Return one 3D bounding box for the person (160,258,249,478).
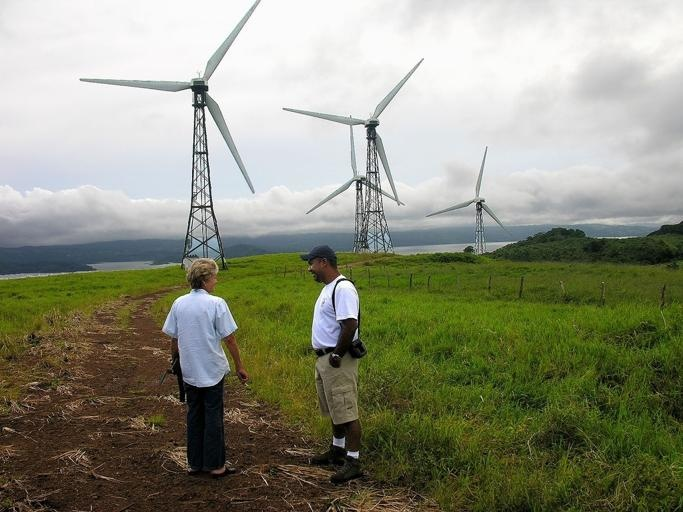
[{"bbox_3d":[-2.251,1.742,8.500,1.116,3.312,1.119,0,8,-23],"label":"person"}]

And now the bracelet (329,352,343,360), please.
[{"bbox_3d":[-0.091,1.585,8.408,0.194,0.105,0.089,3,7,0],"label":"bracelet"}]

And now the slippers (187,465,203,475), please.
[{"bbox_3d":[-2.321,3.392,8.378,0.260,0.101,0.087,25,-7,-10],"label":"slippers"}]

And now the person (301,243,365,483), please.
[{"bbox_3d":[-0.071,1.694,8.636,0.647,3.638,1.180,0,8,-23],"label":"person"}]

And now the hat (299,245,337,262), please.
[{"bbox_3d":[-0.397,-0.030,8.815,0.459,0.235,0.291,0,-2,3],"label":"hat"}]

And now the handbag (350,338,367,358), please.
[{"bbox_3d":[0.253,1.492,8.483,0.252,0.323,0.173,4,8,8],"label":"handbag"}]

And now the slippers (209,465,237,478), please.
[{"bbox_3d":[-1.873,3.408,8.351,0.414,0.150,0.162,-2,6,-32],"label":"slippers"}]
